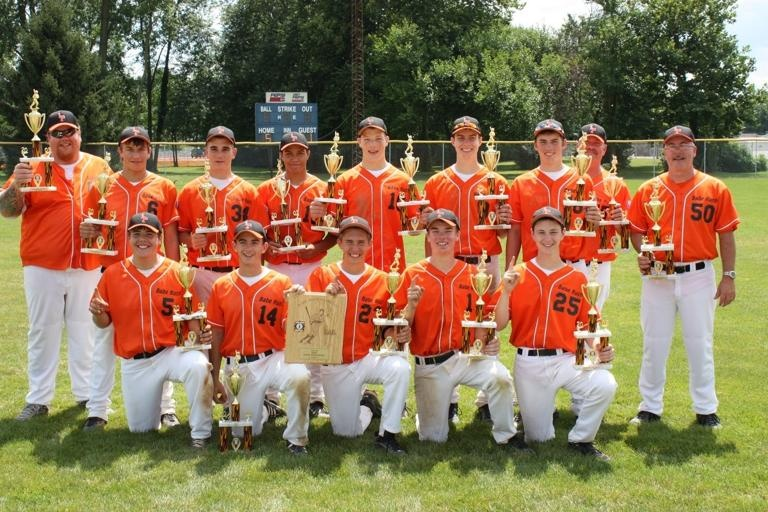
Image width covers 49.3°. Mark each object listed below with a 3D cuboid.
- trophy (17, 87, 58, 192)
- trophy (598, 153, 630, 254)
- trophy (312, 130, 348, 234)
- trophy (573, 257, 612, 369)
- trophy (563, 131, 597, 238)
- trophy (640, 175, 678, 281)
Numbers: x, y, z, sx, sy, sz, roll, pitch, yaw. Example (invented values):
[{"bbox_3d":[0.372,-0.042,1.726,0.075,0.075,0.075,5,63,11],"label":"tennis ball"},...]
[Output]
[{"bbox_3d":[-5.034,-1.665,12.124,0.593,1.460,0.608,0,3,30],"label":"trophy"},{"bbox_3d":[3.339,-0.822,12.185,0.389,1.612,0.396,1,1,4],"label":"trophy"},{"bbox_3d":[-0.809,-0.954,12.398,0.477,1.826,0.501,0,1,-2],"label":"trophy"},{"bbox_3d":[2.885,0.780,11.636,0.466,1.480,1.164,0,2,13],"label":"trophy"},{"bbox_3d":[2.829,-0.977,12.048,0.435,1.665,0.429,1,1,10],"label":"trophy"},{"bbox_3d":[3.927,-0.389,11.964,0.485,1.495,0.496,1,1,15],"label":"trophy"}]
